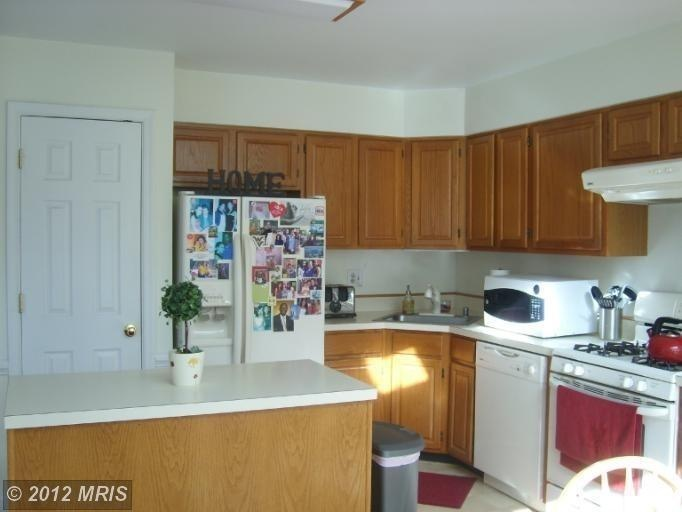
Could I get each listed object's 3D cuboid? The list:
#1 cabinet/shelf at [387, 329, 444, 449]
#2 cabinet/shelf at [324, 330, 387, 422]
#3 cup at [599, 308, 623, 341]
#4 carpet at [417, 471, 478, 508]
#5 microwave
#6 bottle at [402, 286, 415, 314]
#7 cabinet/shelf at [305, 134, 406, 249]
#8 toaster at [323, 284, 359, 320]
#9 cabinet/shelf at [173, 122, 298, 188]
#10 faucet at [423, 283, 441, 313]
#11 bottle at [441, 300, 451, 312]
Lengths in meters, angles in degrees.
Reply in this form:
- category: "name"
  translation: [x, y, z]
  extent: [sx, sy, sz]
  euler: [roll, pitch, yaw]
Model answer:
- category: "cabinet/shelf"
  translation: [0.611, 1.025, 4.377]
  extent: [0.484, 0.910, 0.548]
  euler: [4, 14, 18]
- category: "cabinet/shelf"
  translation: [0.080, 0.888, 4.400]
  extent: [0.465, 0.925, 0.505]
  euler: [-4, 20, -11]
- category: "cup"
  translation: [1.737, 0.432, 3.483]
  extent: [0.131, 0.200, 0.128]
  euler: [-2, 4, 0]
- category: "carpet"
  translation: [0.730, 1.607, 3.729]
  extent: [0.384, 0.084, 0.456]
  euler: [6, 14, 12]
- category: "microwave"
  translation: [1.406, 0.342, 3.887]
  extent: [0.483, 0.416, 0.674]
  euler: [-1, 3, -21]
- category: "bottle"
  translation: [0.593, 0.379, 4.706]
  extent: [0.117, 0.234, 0.383]
  euler: [5, 14, 7]
- category: "cabinet/shelf"
  translation: [0.166, -0.556, 4.544]
  extent: [0.898, 0.891, 0.318]
  euler: [6, 15, 25]
- category: "toaster"
  translation: [0.008, 0.358, 4.347]
  extent: [0.318, 0.244, 0.138]
  euler: [-5, 16, -30]
- category: "cabinet/shelf"
  translation: [-0.764, -0.747, 4.119]
  extent: [0.986, 0.468, 0.130]
  euler: [0, 14, -15]
- category: "faucet"
  translation: [0.814, 0.367, 4.731]
  extent: [0.141, 0.278, 0.350]
  euler: [6, 14, 11]
- category: "bottle"
  translation: [0.952, 0.447, 4.821]
  extent: [0.092, 0.102, 0.096]
  euler: [1, -2, -13]
